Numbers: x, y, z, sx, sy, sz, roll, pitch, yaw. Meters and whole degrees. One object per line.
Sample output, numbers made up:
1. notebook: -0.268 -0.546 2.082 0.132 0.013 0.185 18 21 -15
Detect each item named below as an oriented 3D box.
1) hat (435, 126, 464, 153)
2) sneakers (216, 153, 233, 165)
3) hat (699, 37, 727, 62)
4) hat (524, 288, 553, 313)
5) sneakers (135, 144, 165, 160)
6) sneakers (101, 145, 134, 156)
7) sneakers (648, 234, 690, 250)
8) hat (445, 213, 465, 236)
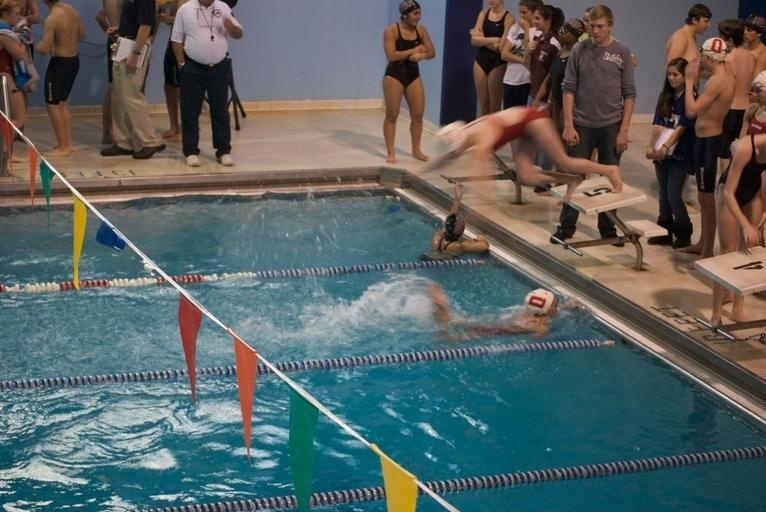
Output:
1. hat: 0.618 -1.110 6.311 0.236 0.228 0.291 4 25 5
2. sneakers: -2.096 -1.288 9.126 0.106 0.110 0.283 -8 9 -21
3. hat: 2.857 -1.783 5.856 0.318 0.185 0.191 -20 33 -38
4. hat: 1.383 0.384 6.072 0.176 0.172 0.236 14 26 11
5. sneakers: -3.174 -1.445 9.398 0.480 0.188 0.169 -19 23 -40
6. sneakers: -3.670 -1.445 9.414 0.476 0.190 0.182 2 7 -18
7. sneakers: 2.964 -0.154 7.105 0.430 0.167 0.142 4 18 9
8. hat: 0.742 -0.330 7.155 0.181 0.230 0.192 3 13 4
